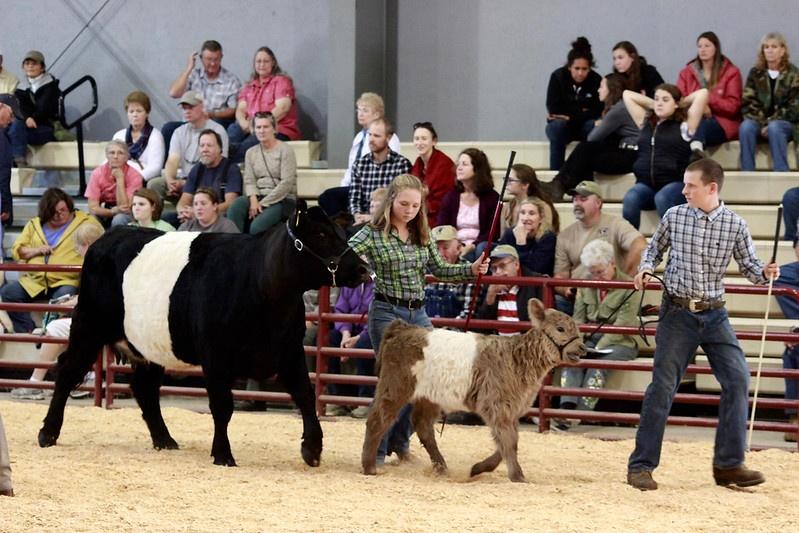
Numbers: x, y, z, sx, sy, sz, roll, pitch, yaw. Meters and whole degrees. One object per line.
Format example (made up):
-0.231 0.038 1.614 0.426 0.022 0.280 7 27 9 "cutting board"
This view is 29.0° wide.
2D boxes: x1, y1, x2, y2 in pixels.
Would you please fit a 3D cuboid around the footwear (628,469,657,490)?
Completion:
2.781 2.452 17.760 0.358 0.140 0.155 -4 -5 44 "footwear"

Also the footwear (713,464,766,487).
3.941 2.402 17.859 0.591 0.297 0.224 -5 1 13 "footwear"

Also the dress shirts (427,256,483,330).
0.709 0.343 19.243 0.865 0.819 0.457 3 -9 11 "dress shirts"

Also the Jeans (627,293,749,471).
3.351 1.378 17.712 1.282 1.934 0.552 3 13 8 "Jeans"

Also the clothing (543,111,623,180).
2.701 -1.780 22.818 0.834 1.097 0.874 0 -42 4 "clothing"

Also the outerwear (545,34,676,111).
3.128 -2.781 22.782 1.544 1.122 1.017 -3 2 -16 "outerwear"

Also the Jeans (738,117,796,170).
5.242 -1.673 22.120 0.753 0.873 0.724 -2 -9 29 "Jeans"

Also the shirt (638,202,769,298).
3.493 -0.155 17.777 1.475 1.137 0.704 4 6 7 "shirt"

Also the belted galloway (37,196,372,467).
-2.376 0.831 18.829 4.415 3.072 1.498 2 0 28 "belted galloway"

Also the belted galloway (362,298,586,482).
0.895 1.516 18.311 2.043 1.550 0.662 1 -24 4 "belted galloway"

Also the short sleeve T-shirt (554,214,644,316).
2.579 -0.036 20.542 1.424 1.347 0.968 -5 4 -2 "short sleeve T-shirt"

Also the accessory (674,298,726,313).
3.411 0.443 17.682 0.598 0.158 0.107 1 12 3 "accessory"

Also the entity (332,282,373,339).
-0.579 0.566 19.936 0.666 0.645 0.431 2 -13 34 "entity"

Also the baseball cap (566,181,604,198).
2.494 -1.026 20.498 0.323 0.144 0.224 7 -6 -20 "baseball cap"
